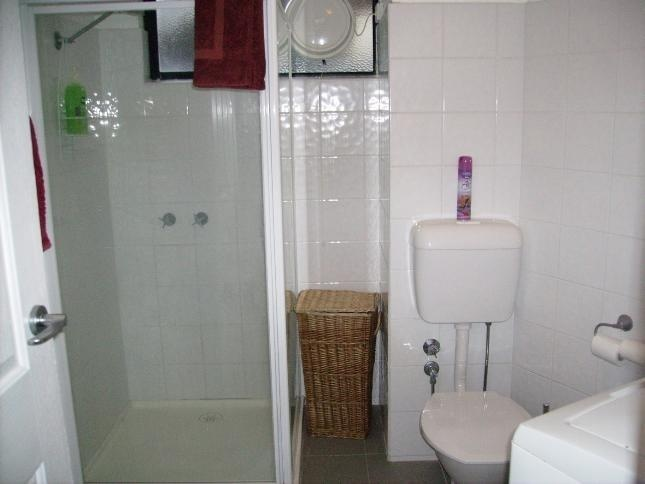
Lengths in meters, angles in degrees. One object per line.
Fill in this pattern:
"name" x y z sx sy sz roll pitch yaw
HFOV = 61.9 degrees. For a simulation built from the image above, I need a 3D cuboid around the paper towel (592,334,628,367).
"paper towel" 1.197 0.447 2.289 0.112 0.110 0.132 -13 19 -27
